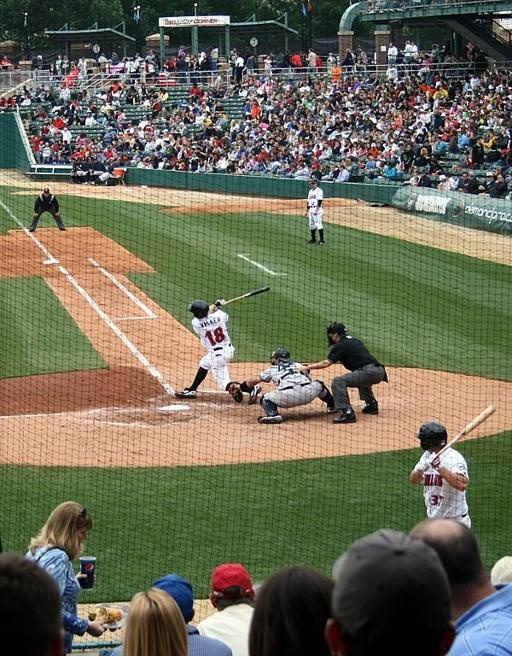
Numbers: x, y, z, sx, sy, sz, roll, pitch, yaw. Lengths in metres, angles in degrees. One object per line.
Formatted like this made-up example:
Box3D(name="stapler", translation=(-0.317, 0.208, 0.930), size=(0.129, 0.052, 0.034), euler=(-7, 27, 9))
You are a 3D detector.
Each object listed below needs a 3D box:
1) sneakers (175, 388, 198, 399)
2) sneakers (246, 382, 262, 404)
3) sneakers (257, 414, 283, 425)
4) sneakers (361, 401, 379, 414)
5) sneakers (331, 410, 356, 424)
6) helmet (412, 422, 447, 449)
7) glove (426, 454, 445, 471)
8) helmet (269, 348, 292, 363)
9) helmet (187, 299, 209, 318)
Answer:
Box3D(name="sneakers", translation=(-0.886, 0.817, 13.394), size=(0.261, 0.149, 0.278), euler=(1, 14, -5))
Box3D(name="sneakers", translation=(-0.007, 0.813, 13.094), size=(0.120, 0.135, 0.321), euler=(-13, -19, -21))
Box3D(name="sneakers", translation=(0.165, 1.058, 12.250), size=(0.321, 0.115, 0.103), euler=(2, 0, -1))
Box3D(name="sneakers", translation=(1.358, 0.928, 12.661), size=(0.200, 0.179, 0.192), euler=(3, 15, 5))
Box3D(name="sneakers", translation=(1.009, 1.017, 12.246), size=(0.368, 0.201, 0.109), euler=(0, 13, 1))
Box3D(name="helmet", translation=(1.253, 0.781, 7.678), size=(0.243, 0.170, 0.168), euler=(3, 11, 13))
Box3D(name="glove", translation=(1.271, 0.961, 7.496), size=(0.099, 0.106, 0.079), euler=(-33, 47, 7))
Box3D(name="helmet", translation=(0.295, 0.338, 12.404), size=(0.211, 0.179, 0.168), euler=(15, 19, 38))
Box3D(name="helmet", translation=(-0.692, -0.216, 12.938), size=(0.216, 0.195, 0.263), euler=(-11, 33, -14))
